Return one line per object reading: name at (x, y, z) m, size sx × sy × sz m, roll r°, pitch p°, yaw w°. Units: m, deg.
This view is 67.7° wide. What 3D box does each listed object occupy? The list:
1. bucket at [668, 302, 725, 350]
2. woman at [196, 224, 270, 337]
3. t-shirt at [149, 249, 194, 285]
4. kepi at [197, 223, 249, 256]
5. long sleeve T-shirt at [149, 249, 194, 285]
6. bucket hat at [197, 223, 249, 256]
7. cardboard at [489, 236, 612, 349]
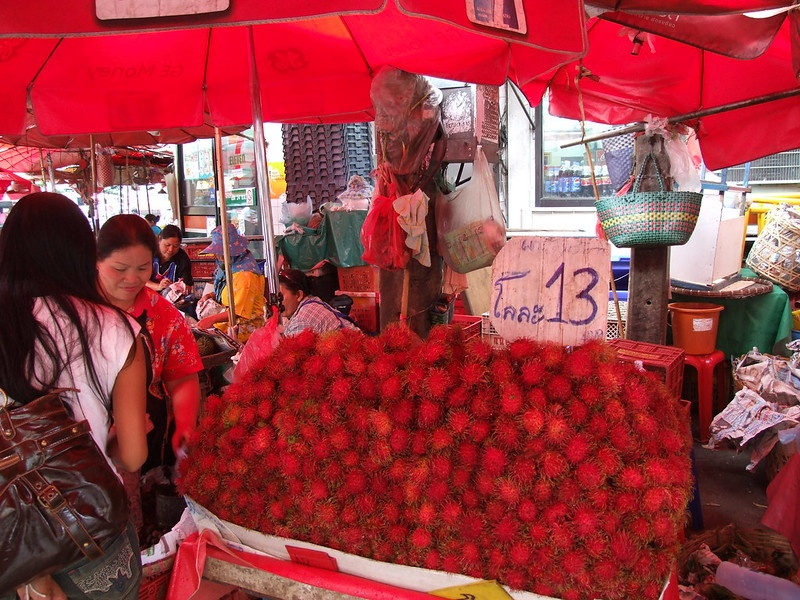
bucket at (1.988, 0.203, 4.063) m, size 0.385 × 0.321 × 0.399 m, roll -10°, pitch 19°, yaw 4°
woman at (-1.273, 0.021, 4.552) m, size 0.495 × 0.629 × 0.535 m, roll -2°, pitch 12°, yaw -4°
t-shirt at (-2.068, -0.297, 5.352) m, size 0.414 × 0.355 × 0.252 m, roll 4°, pitch 2°, yaw 12°
kepi at (-1.333, -0.467, 4.606) m, size 0.382 × 0.216 × 0.398 m, roll -13°, pitch 4°, yaw 13°
long sleeve T-shirt at (-2.068, -0.297, 5.352) m, size 0.414 × 0.355 × 0.252 m, roll 4°, pitch 2°, yaw 12°
bucket hat at (-1.335, -0.437, 4.585) m, size 0.382 × 0.216 × 0.398 m, roll -13°, pitch 4°, yaw 13°
cardboard at (0.486, -0.026, 1.918) m, size 0.335 × 0.337 × 0.047 m, roll 3°, pitch 1°, yaw 29°
